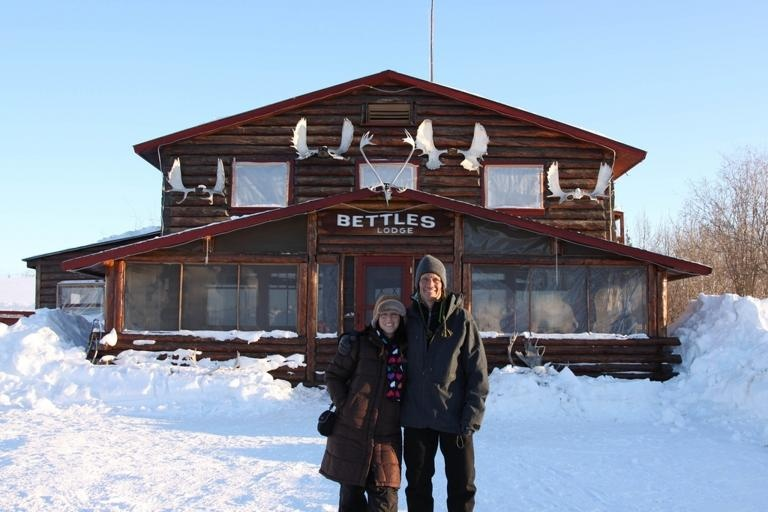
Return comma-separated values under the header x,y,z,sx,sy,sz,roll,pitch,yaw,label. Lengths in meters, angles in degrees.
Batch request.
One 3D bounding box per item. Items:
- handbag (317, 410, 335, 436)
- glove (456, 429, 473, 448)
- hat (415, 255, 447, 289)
x,y,z,sx,sy,sz,roll,pitch,yaw,label
-0.979,2.906,17.955,0.285,0.483,0.181,2,-4,-11,handbag
1.419,3.187,17.874,0.283,0.351,0.145,2,-4,-1,glove
0.869,0.196,18.522,0.569,0.611,0.666,0,-24,0,hat
